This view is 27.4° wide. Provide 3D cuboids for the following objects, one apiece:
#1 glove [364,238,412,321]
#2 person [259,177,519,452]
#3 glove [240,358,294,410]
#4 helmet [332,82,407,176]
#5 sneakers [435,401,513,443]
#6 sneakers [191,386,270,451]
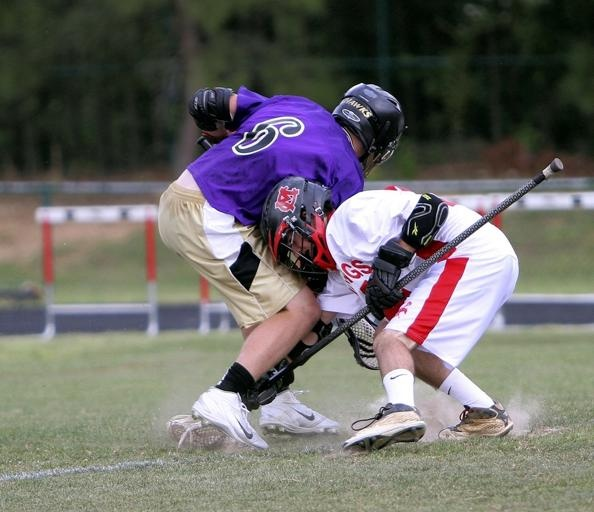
[{"bbox_3d":[0.431,0.134,7.002,0.181,0.379,0.287,5,20,-14],"label":"glove"},{"bbox_3d":[0.568,0.337,7.091,1.356,1.542,0.828,0,10,8],"label":"person"},{"bbox_3d":[-0.181,0.791,7.407,0.359,0.228,0.148,-33,67,-25],"label":"glove"},{"bbox_3d":[0.332,-0.829,7.840,0.455,0.510,0.561,11,-4,42],"label":"helmet"},{"bbox_3d":[1.060,0.989,7.201,0.529,0.223,0.172,-7,-15,12],"label":"sneakers"},{"bbox_3d":[-0.400,0.963,7.220,0.577,0.271,0.199,38,-19,-26],"label":"sneakers"}]
